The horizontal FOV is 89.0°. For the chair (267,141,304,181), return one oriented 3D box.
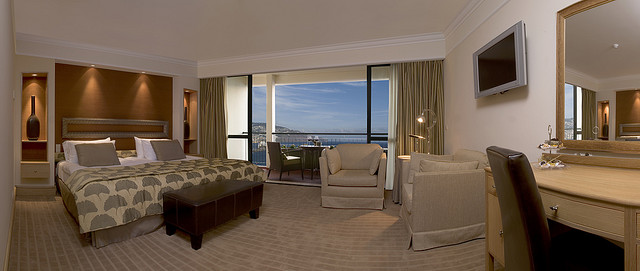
[{"bbox_3d":[-1.097,0.736,10.240,1.105,0.901,0.970,1,0,-18],"label":"chair"}]

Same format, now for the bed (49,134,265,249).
[{"bbox_3d":[-5.042,1.072,8.088,3.669,1.268,3.737,2,2,38],"label":"bed"}]

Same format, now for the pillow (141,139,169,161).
[{"bbox_3d":[-4.684,0.357,9.175,0.687,0.518,0.183,7,28,26],"label":"pillow"}]

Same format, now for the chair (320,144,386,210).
[{"bbox_3d":[0.951,1.088,8.938,2.217,1.535,1.640,-1,-6,9],"label":"chair"}]

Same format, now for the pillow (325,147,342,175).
[{"bbox_3d":[0.329,0.680,8.452,0.280,0.488,0.726,0,4,21],"label":"pillow"}]

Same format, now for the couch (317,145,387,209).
[{"bbox_3d":[0.948,0.970,8.620,1.853,1.199,1.347,0,12,12],"label":"couch"}]

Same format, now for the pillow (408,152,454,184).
[{"bbox_3d":[2.497,0.751,7.382,0.969,0.570,0.287,2,3,-3],"label":"pillow"}]

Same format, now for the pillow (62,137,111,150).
[{"bbox_3d":[-6.269,0.222,8.656,1.530,0.255,0.153,2,-6,-32],"label":"pillow"}]

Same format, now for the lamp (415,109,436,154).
[{"bbox_3d":[2.808,-0.118,8.731,0.406,1.198,0.791,-1,3,31],"label":"lamp"}]

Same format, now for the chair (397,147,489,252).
[{"bbox_3d":[3.039,1.367,8.014,2.466,1.914,2.555,0,-1,4],"label":"chair"}]

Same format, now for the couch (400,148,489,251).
[{"bbox_3d":[2.348,1.343,8.075,2.353,1.885,2.670,-1,5,-30],"label":"couch"}]
